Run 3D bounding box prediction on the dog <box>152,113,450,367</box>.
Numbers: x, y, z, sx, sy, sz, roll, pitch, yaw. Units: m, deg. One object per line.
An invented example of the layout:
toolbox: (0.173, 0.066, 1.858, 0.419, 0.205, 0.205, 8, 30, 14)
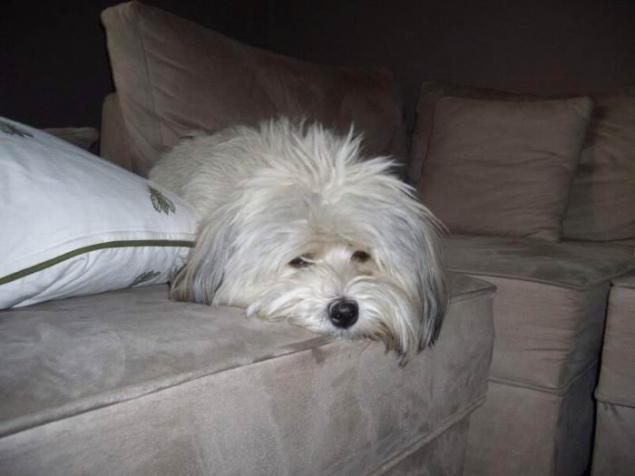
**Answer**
dog: (-0.097, -0.063, 1.425, 0.656, 0.574, 0.926, 4, 24, -45)
